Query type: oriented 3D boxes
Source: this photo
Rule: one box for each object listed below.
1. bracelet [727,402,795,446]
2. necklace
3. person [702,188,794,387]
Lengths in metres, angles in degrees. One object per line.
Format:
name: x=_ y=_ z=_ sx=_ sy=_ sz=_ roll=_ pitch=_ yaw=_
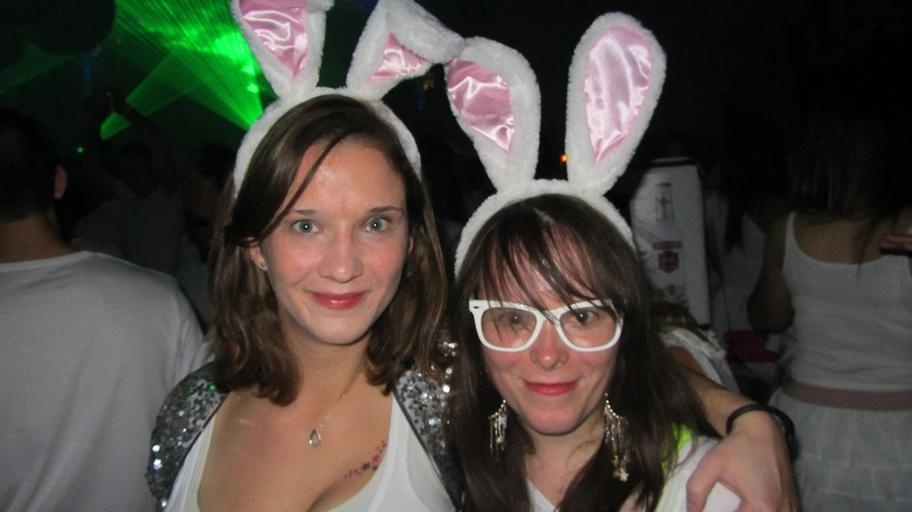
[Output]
bracelet: x=2.195 y=1.135 z=5.000 sx=0.335 sy=0.342 sz=0.095 roll=41 pitch=25 yaw=8
necklace: x=-0.939 y=1.177 z=5.185 sx=0.184 sy=0.564 sz=0.101 roll=39 pitch=-16 yaw=5
person: x=2.715 y=0.195 z=6.729 sx=1.307 sy=1.734 sz=0.525 roll=4 pitch=-11 yaw=1
